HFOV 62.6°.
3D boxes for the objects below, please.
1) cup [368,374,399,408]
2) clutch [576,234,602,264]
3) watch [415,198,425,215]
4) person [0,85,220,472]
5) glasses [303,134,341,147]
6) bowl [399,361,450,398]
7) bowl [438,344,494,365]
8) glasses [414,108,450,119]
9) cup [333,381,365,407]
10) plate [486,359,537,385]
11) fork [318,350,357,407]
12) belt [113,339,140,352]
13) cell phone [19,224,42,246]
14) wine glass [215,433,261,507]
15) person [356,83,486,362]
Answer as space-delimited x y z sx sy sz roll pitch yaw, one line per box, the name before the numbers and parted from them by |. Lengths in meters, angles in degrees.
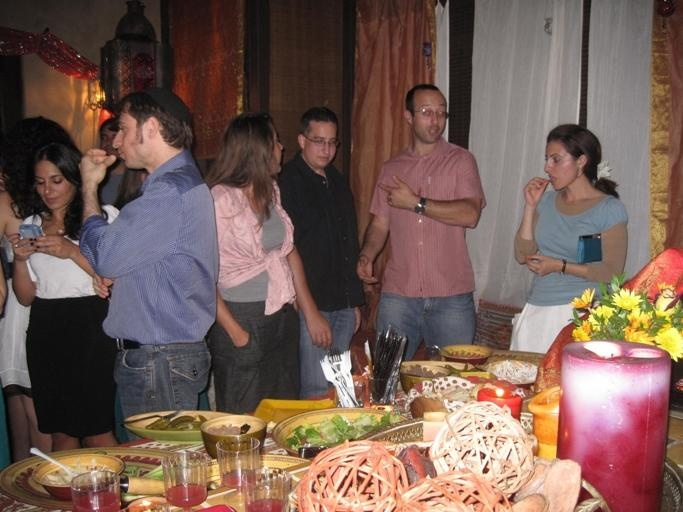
cup | 0.165 0.509 2.165 0.095 0.116 0.225 0 4 12
clutch | 1.392 -0.040 3.141 0.146 0.148 0.047 -6 7 -20
watch | 0.473 -0.301 3.301 0.063 0.099 0.086 9 8 10
person | -1.131 0.206 2.696 1.271 1.853 0.448 2 6 39
glasses | -0.123 -0.770 3.753 0.227 0.072 0.127 -3 4 -14
bowl | 0.344 0.486 2.273 0.212 0.106 0.438 -1 4 6
bowl | 0.592 0.455 2.636 0.228 0.045 0.346 1 5 30
glasses | 0.566 -0.864 3.410 0.190 0.064 0.071 -3 4 -18
cup | 0.029 0.541 2.207 0.084 0.100 0.101 0 -9 -18
plate | 0.692 0.472 2.286 0.194 0.057 0.301 0 4 19
fork | -0.004 0.469 2.172 0.080 0.286 0.032 -7 -3 -7
belt | -0.914 0.382 2.429 0.066 0.042 0.078 6 10 15
cell phone | -1.556 -0.103 2.800 0.049 0.061 0.092 3 13 21
wine glass | -0.276 0.609 1.595 0.132 0.224 0.140 0 -3 8
person | 0.489 -0.222 3.472 0.760 1.660 0.470 0 5 14
